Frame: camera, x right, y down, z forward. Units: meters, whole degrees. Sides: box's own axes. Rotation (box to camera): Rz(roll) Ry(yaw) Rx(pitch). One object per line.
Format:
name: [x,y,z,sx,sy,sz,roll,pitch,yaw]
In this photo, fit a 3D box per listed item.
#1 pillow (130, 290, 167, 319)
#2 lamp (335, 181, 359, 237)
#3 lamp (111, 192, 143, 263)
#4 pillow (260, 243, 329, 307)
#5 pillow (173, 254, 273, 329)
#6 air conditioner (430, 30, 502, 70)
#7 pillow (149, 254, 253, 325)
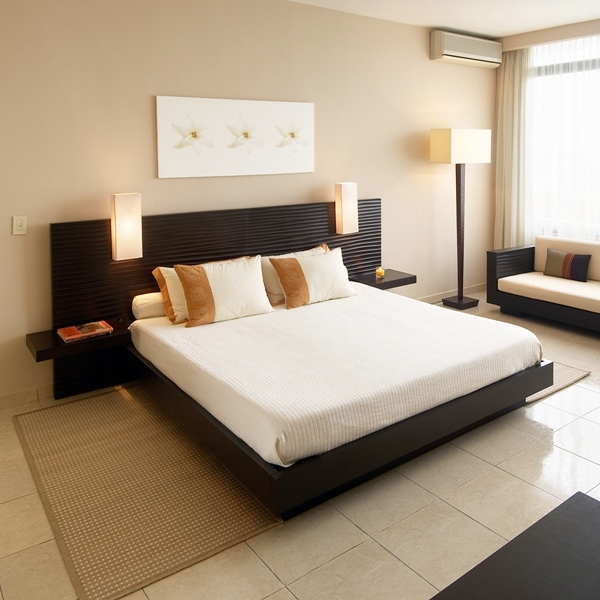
pillow: [-1.080,0.039,3.542,0.212,0.186,0.175,-3,8,-29]
lamp: [0.417,-0.842,4.468,0.169,0.453,0.130,-11,18,-25]
lamp: [-1.197,-0.512,3.411,0.223,0.450,0.184,-6,13,-24]
pillow: [-0.055,-0.173,3.751,0.563,0.466,0.170,-15,-4,-42]
pillow: [-0.555,-0.047,3.479,0.407,0.329,0.149,-10,-3,-34]
air conditioner: [1.776,-2.598,5.164,0.731,0.299,0.141,2,20,-12]
pillow: [-0.835,-0.079,3.484,0.114,0.429,0.405,-19,-15,21]
